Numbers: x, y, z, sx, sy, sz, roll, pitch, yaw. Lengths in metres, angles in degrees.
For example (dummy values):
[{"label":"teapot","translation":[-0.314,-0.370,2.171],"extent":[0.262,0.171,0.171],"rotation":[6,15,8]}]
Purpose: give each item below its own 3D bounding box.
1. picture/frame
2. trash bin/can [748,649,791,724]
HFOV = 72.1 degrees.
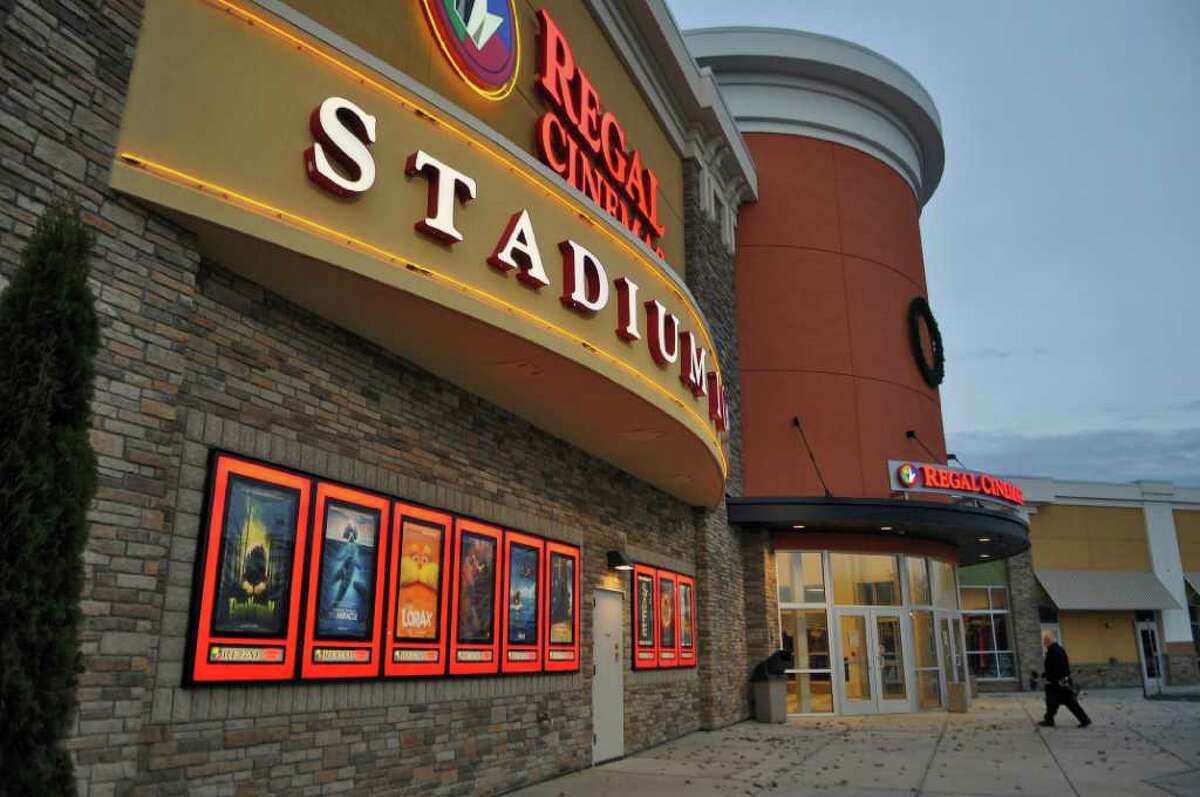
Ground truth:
[{"label":"picture/frame","translation":[-2.467,2.382,10.434],"extent":[0.336,2.287,5.736],"rotation":[-13,-22,31]},{"label":"trash bin/can","translation":[4.284,7.310,20.959],"extent":[0.899,1.701,0.863],"rotation":[-4,-19,9]}]
